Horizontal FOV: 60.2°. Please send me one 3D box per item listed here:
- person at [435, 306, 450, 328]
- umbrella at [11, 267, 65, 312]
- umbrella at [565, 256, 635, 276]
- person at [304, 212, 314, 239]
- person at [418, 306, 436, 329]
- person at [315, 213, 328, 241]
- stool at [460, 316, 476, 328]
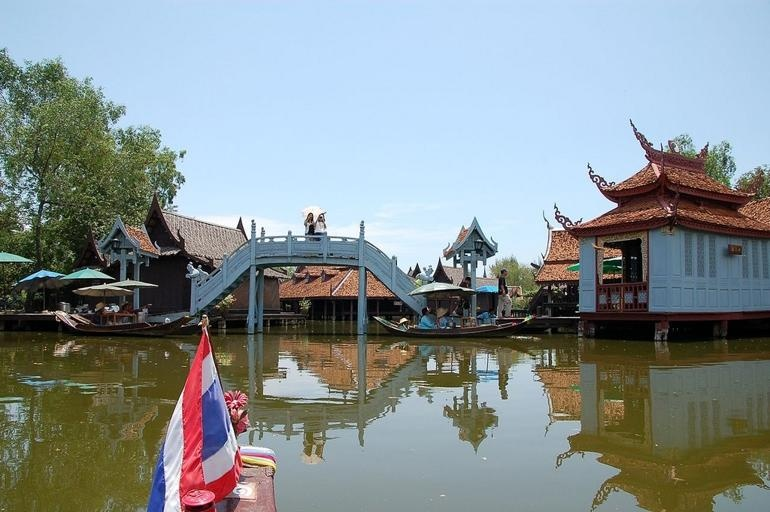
[{"bbox_3d":[2.216,2.394,25.390,0.510,0.286,0.725,2,-42,10],"label":"person"},{"bbox_3d":[-15.108,1.424,28.945,1.744,1.409,1.759,-5,-9,-4],"label":"umbrella"},{"bbox_3d":[10.103,0.440,30.027,1.820,0.602,1.833,0,-14,-2],"label":"umbrella"},{"bbox_3d":[-3.131,-1.395,27.793,0.426,0.907,0.158,-6,-11,36],"label":"person"},{"bbox_3d":[1.599,2.367,25.295,0.636,0.846,0.812,-3,-6,-8],"label":"person"},{"bbox_3d":[-2.702,-1.239,27.439,0.464,1.287,1.057,1,-9,-6],"label":"person"},{"bbox_3d":[3.181,2.536,25.070,0.443,0.417,0.453,0,-4,20],"label":"stool"}]
